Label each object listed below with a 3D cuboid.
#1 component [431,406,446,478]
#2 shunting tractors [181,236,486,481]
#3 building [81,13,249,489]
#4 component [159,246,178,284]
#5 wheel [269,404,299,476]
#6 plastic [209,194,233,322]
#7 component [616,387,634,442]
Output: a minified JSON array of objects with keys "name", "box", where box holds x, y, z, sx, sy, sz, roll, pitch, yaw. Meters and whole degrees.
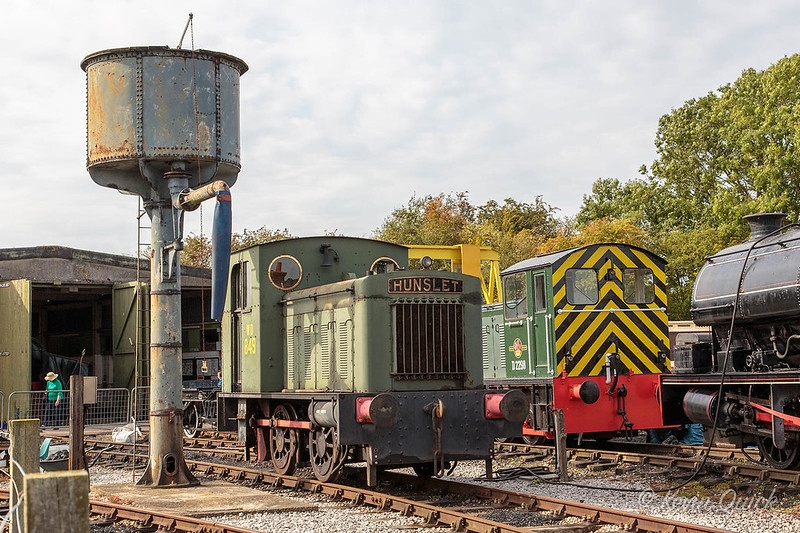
[{"name":"component","box":[0.690,2.996,13.362,0.255,1.288,0.335,-4,-8,0]},{"name":"shunting tractors","box":[-1.055,1.652,14.907,5.452,4.749,2.551,-12,-11,43]},{"name":"building","box":[-4.722,-0.197,15.587,3.184,8.699,3.433,-1,-1,32]},{"name":"component","box":[-4.456,-0.057,14.644,0.385,0.643,0.165,-9,-9,29]},{"name":"wheel","box":[-2.479,3.475,15.329,0.212,1.350,1.242,-8,-22,15]},{"name":"plastic","box":[-3.194,-0.267,13.470,0.366,2.274,0.603,-2,-8,-16]},{"name":"component","box":[4.969,3.149,16.739,0.146,0.619,0.210,-22,-15,40]}]
